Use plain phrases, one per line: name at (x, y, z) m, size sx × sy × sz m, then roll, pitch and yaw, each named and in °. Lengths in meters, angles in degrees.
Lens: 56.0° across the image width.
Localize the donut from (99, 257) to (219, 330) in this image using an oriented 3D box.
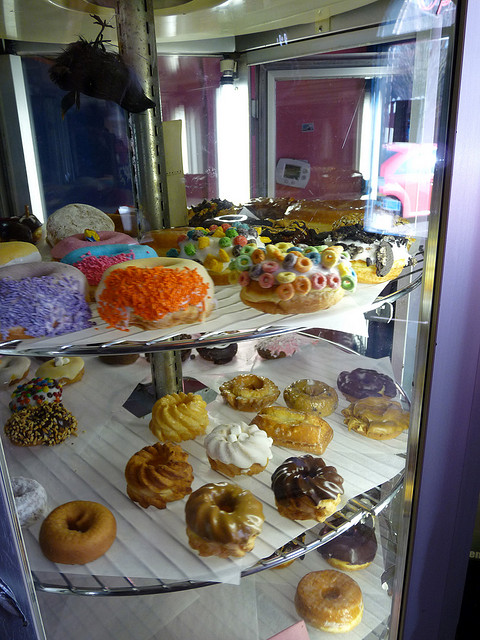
donut at (-0.111, -0.030, 0.599) m, size 0.150 × 0.072 × 0.090 m, roll -6°, pitch 21°, yaw -9°

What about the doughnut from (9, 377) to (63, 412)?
doughnut at (-0.492, 0.166, 1.067) m, size 0.086 × 0.033 × 0.094 m, roll 4°, pitch 14°, yaw 13°

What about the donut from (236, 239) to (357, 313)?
donut at (0.082, -0.064, 0.670) m, size 0.175 × 0.080 × 0.114 m, roll -2°, pitch 21°, yaw -1°

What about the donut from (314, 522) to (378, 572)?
donut at (0.258, 0.569, 1.116) m, size 0.119 × 0.117 × 0.041 m, roll 18°, pitch 41°, yaw 22°

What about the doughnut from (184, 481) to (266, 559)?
doughnut at (-0.030, 0.358, 0.832) m, size 0.151 × 0.076 × 0.141 m, roll -13°, pitch 20°, yaw -35°

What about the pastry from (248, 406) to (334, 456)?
pastry at (0.125, 0.256, 1.093) m, size 0.188 × 0.054 × 0.124 m, roll 6°, pitch 25°, yaw 28°

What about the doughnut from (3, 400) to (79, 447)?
doughnut at (-0.446, 0.221, 0.989) m, size 0.123 × 0.042 × 0.090 m, roll -3°, pitch 27°, yaw -22°

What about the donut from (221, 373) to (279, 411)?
donut at (0.027, 0.179, 1.224) m, size 0.105 × 0.039 × 0.101 m, roll -1°, pitch 14°, yaw -1°

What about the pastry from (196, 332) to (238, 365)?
pastry at (-0.066, 0.087, 1.280) m, size 0.117 × 0.062 × 0.081 m, roll -2°, pitch 21°, yaw 0°

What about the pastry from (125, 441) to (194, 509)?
pastry at (-0.163, 0.301, 0.899) m, size 0.114 × 0.037 × 0.105 m, roll 2°, pitch 25°, yaw 2°

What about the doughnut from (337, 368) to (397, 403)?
doughnut at (0.340, 0.161, 1.201) m, size 0.118 × 0.041 × 0.084 m, roll 9°, pitch 24°, yaw 28°

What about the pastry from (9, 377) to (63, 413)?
pastry at (-0.492, 0.172, 1.070) m, size 0.085 × 0.033 × 0.093 m, roll 5°, pitch 14°, yaw 16°

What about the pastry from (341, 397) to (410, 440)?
pastry at (0.325, 0.239, 1.091) m, size 0.110 × 0.031 × 0.101 m, roll -4°, pitch 20°, yaw 1°

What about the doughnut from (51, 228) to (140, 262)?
doughnut at (-0.246, -0.130, 0.743) m, size 0.087 × 0.031 × 0.092 m, roll 11°, pitch 15°, yaw 39°

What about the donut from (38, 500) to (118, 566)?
donut at (-0.291, 0.372, 0.803) m, size 0.136 × 0.044 × 0.136 m, roll -8°, pitch 18°, yaw -37°

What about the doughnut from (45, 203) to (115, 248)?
doughnut at (-0.294, -0.159, 0.822) m, size 0.117 × 0.038 × 0.118 m, roll 1°, pitch 24°, yaw 1°

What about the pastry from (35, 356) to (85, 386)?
pastry at (-0.460, 0.127, 1.137) m, size 0.117 × 0.047 × 0.121 m, roll -2°, pitch 17°, yaw -3°

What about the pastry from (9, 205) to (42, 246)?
pastry at (-0.357, -0.163, 0.769) m, size 0.048 × 0.060 × 0.046 m, roll 6°, pitch 25°, yaw -3°

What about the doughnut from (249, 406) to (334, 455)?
doughnut at (0.129, 0.248, 1.076) m, size 0.154 × 0.047 × 0.102 m, roll 14°, pitch 23°, yaw 24°

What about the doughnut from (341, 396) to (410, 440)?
doughnut at (0.333, 0.234, 1.096) m, size 0.110 × 0.031 × 0.102 m, roll -6°, pitch 21°, yaw -2°

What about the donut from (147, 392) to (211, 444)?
donut at (-0.142, 0.224, 1.041) m, size 0.121 × 0.072 × 0.115 m, roll 1°, pitch 14°, yaw 3°

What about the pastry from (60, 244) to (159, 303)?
pastry at (-0.207, -0.089, 0.681) m, size 0.112 × 0.042 × 0.112 m, roll 9°, pitch 19°, yaw 23°

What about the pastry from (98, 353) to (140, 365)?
pastry at (-0.295, 0.093, 1.076) m, size 0.086 × 0.027 × 0.085 m, roll 3°, pitch 7°, yaw 5°

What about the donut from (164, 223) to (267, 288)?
donut at (-0.028, -0.133, 0.802) m, size 0.198 × 0.064 × 0.204 m, roll -2°, pitch 25°, yaw -4°

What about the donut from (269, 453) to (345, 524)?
donut at (0.129, 0.326, 0.908) m, size 0.155 × 0.062 × 0.142 m, roll -17°, pitch 25°, yaw -35°

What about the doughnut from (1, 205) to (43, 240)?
doughnut at (-0.364, -0.162, 0.766) m, size 0.039 × 0.051 × 0.053 m, roll 7°, pitch 20°, yaw 0°

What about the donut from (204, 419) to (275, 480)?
donut at (-0.035, 0.289, 0.999) m, size 0.169 × 0.071 × 0.148 m, roll 7°, pitch -2°, yaw 15°

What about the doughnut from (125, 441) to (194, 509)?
doughnut at (-0.166, 0.304, 0.933) m, size 0.150 × 0.055 × 0.156 m, roll 1°, pitch 20°, yaw -10°

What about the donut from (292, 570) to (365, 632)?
donut at (0.202, 0.641, 1.039) m, size 0.159 × 0.057 × 0.116 m, roll -7°, pitch 21°, yaw -13°

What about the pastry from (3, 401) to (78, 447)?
pastry at (-0.441, 0.221, 0.998) m, size 0.117 × 0.036 × 0.095 m, roll -3°, pitch 23°, yaw -22°

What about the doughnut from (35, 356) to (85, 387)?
doughnut at (-0.456, 0.127, 1.126) m, size 0.119 × 0.048 × 0.124 m, roll -1°, pitch 18°, yaw -3°

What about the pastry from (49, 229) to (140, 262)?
pastry at (-0.250, -0.130, 0.741) m, size 0.094 × 0.032 × 0.091 m, roll -8°, pitch 18°, yaw -35°
